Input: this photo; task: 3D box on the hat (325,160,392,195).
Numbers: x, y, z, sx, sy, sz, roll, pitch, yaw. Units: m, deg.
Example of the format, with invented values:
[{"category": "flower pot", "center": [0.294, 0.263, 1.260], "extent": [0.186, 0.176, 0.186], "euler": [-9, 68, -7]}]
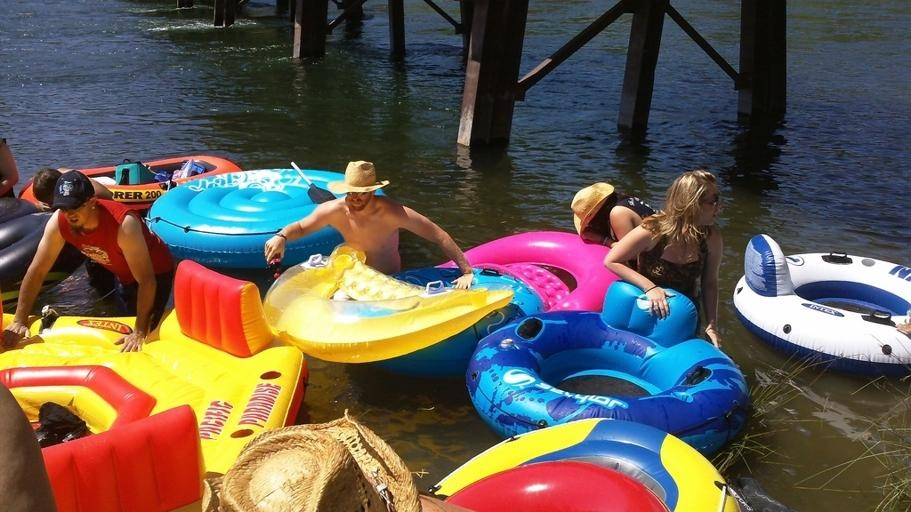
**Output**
[{"category": "hat", "center": [-1.290, -1.072, 12.314], "extent": [0.813, 0.559, 0.881], "euler": [3, 0, 6]}]

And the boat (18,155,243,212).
[{"category": "boat", "center": [-5.403, -0.982, 15.190], "extent": [3.083, 0.531, 1.614], "euler": [-10, 19, -39]}]

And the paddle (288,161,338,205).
[{"category": "paddle", "center": [-2.386, -1.152, 14.019], "extent": [0.422, 0.068, 1.524], "euler": [-31, 35, -25]}]

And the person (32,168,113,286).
[{"category": "person", "center": [-5.635, -0.655, 12.593], "extent": [0.738, 1.180, 0.745], "euler": [3, 0, -34]}]
